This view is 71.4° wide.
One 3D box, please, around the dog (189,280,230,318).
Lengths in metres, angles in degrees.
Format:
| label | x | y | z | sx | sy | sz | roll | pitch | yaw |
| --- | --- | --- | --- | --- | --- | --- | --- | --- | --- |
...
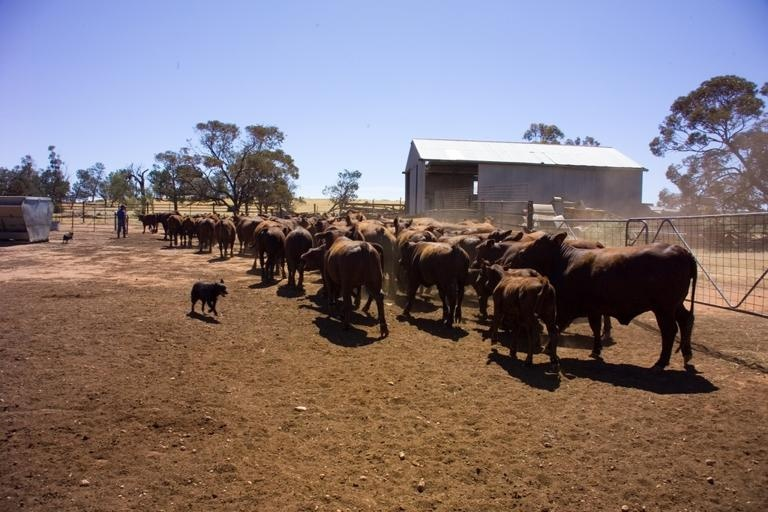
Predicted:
| label | x | y | z | sx | sy | sz | roll | pitch | yaw |
| --- | --- | --- | --- | --- | --- | --- | --- | --- | --- |
| dog | -3.960 | 0.939 | 12.132 | 1.230 | 0.777 | 0.326 | 0 | 3 | 38 |
